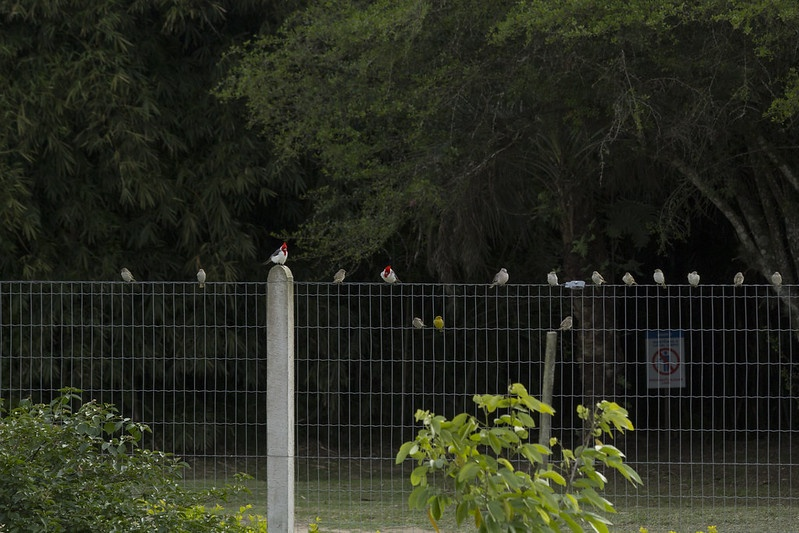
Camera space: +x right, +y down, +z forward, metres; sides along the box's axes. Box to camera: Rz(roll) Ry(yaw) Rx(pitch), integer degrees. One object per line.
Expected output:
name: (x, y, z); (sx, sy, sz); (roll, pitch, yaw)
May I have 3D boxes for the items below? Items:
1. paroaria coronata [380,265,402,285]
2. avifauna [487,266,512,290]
paroaria coronata: (-0.141, 0.127, 27.372); (0.171, 0.310, 0.672); (-2, -7, 8)
avifauna: (1.524, 0.188, 27.238); (0.366, 0.420, 0.237); (-5, 0, 16)
